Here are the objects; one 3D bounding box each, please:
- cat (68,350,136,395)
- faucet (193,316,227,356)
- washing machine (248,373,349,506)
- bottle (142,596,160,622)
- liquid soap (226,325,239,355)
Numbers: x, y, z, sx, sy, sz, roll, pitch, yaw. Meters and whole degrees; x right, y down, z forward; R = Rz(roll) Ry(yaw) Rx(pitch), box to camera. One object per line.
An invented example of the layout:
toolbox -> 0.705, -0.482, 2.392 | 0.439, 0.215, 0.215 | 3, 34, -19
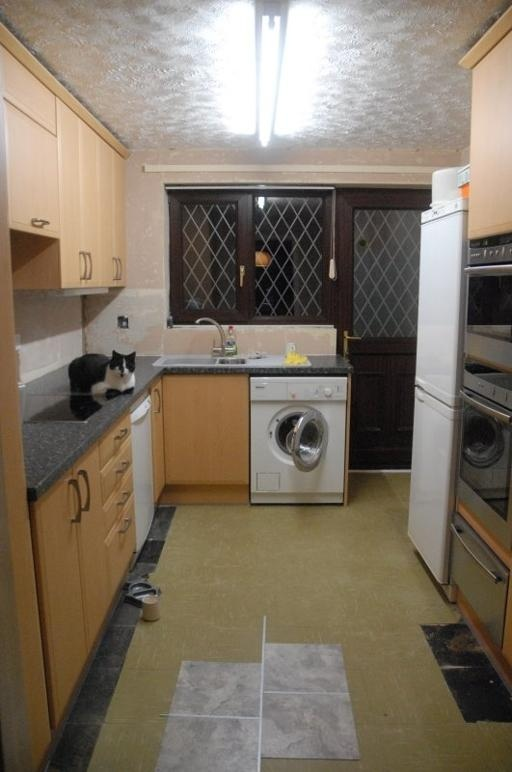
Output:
cat -> -0.715, -0.072, 2.512 | 0.322, 0.224, 0.181 | 8, 11, 42
faucet -> -0.303, -0.334, 3.627 | 0.208, 0.263, 0.427 | -1, 6, -9
washing machine -> 0.205, 0.300, 3.473 | 0.551, 0.917, 0.671 | 0, 4, 1
bottle -> -0.405, 0.862, 2.077 | 0.060, 0.072, 0.069 | 1, 4, 0
liquid soap -> -0.165, -0.305, 3.628 | 0.078, 0.194, 0.215 | 0, 6, -1
